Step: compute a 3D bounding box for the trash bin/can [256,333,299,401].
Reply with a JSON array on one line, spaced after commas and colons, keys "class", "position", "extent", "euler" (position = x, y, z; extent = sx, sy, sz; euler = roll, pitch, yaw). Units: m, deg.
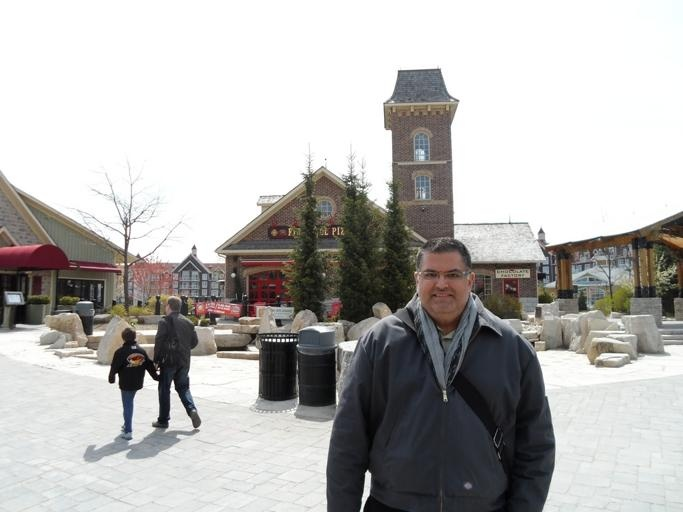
[{"class": "trash bin/can", "position": [-1.150, 1.987, 9.680], "extent": [0.713, 1.013, 0.510], "euler": [1, -1, -8]}]

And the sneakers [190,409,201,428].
[{"class": "sneakers", "position": [-2.304, 2.489, 8.226], "extent": [0.138, 0.304, 0.126], "euler": [-19, 9, -17]}]

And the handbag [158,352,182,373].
[{"class": "handbag", "position": [-2.715, 1.626, 8.331], "extent": [0.237, 0.171, 0.323], "euler": [9, -14, -35]}]

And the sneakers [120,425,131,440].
[{"class": "sneakers", "position": [-3.232, 2.574, 7.817], "extent": [0.100, 0.131, 0.301], "euler": [7, -8, -25]}]

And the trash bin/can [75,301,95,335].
[{"class": "trash bin/can", "position": [-8.852, 2.108, 18.076], "extent": [0.740, 1.167, 0.749], "euler": [1, 1, -10]}]

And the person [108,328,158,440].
[{"class": "person", "position": [-3.222, 1.865, 8.099], "extent": [0.688, 1.626, 0.781], "euler": [1, -1, -23]}]
